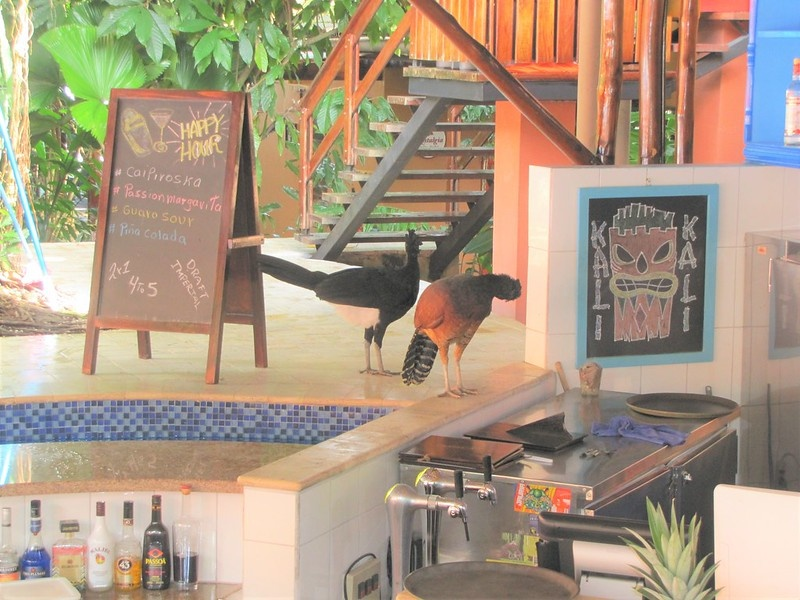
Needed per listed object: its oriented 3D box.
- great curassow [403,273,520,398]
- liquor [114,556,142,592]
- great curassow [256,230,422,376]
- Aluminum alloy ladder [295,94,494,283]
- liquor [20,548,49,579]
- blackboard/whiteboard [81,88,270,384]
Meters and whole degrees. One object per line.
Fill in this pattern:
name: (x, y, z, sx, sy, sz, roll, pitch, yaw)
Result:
great curassow: (0.292, 0.176, 4.856, 0.536, 0.622, 0.471, 0, -1, -26)
liquor: (-1.231, 1.232, 4.341, 0.151, 0.166, 0.150, 0, 4, 1)
great curassow: (-0.273, -0.106, 5.547, 0.754, 0.914, 0.829, -8, 17, -42)
Aluminum alloy ladder: (-0.175, -1.113, 9.103, 1.732, 1.784, 1.052, 2, 17, 8)
liquor: (-1.657, 1.182, 4.281, 0.134, 0.139, 0.106, 0, -1, -21)
blackboard/whiteboard: (-1.358, -0.413, 5.651, 1.061, 1.798, 0.544, 0, -1, -15)
